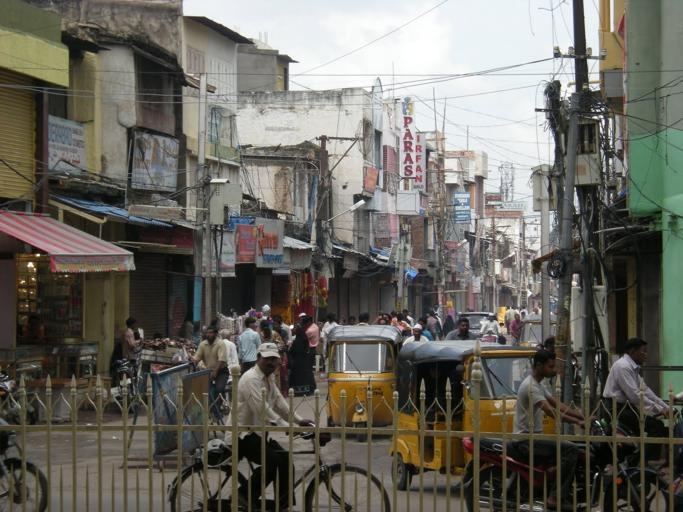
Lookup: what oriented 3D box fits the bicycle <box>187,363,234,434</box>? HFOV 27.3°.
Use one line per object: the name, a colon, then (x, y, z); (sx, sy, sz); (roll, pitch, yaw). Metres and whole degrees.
bicycle: (-2.561, 2.610, 27.736); (0.632, 1.830, 0.817); (0, -1, 1)
